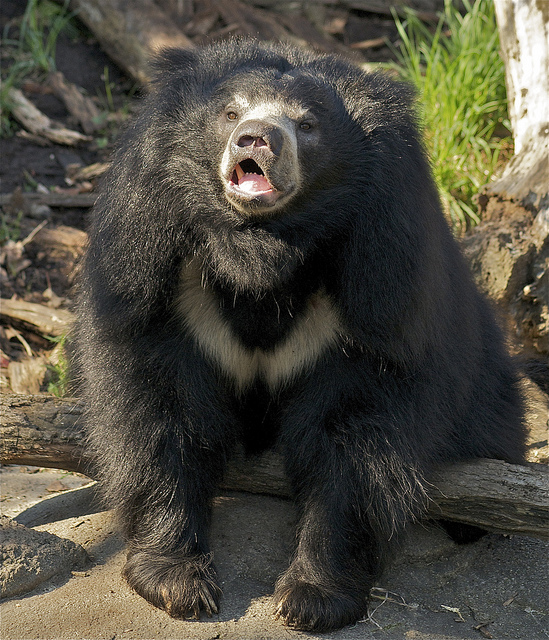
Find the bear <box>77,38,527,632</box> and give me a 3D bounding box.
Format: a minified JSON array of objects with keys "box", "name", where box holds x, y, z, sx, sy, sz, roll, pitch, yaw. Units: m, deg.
[{"box":[0.131,0.001,3.377,1.724,2.288,0.979,1,-4,-13],"name":"bear"}]
